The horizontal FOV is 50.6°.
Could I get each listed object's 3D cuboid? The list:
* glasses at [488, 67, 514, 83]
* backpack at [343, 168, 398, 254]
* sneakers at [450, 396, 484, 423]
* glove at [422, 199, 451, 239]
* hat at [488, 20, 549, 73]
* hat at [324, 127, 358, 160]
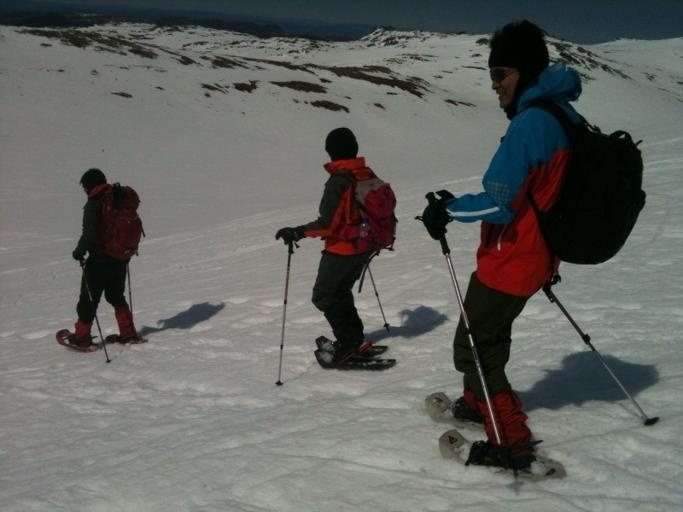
[{"bbox_3d":[1.471,-1.703,6.689,0.188,0.059,0.180,6,-6,37],"label":"glasses"},{"bbox_3d":[0.384,-0.468,8.586,0.348,0.945,0.651,17,24,36],"label":"backpack"},{"bbox_3d":[1.296,1.578,7.298,0.324,0.103,0.249,22,8,34],"label":"sneakers"},{"bbox_3d":[0.900,-0.355,6.823,0.353,0.334,0.149,2,-1,13],"label":"glove"},{"bbox_3d":[1.651,-1.930,6.667,0.544,0.466,0.243,3,19,6],"label":"hat"},{"bbox_3d":[-0.056,-1.363,8.719,0.403,0.381,0.465,7,18,21],"label":"hat"}]
